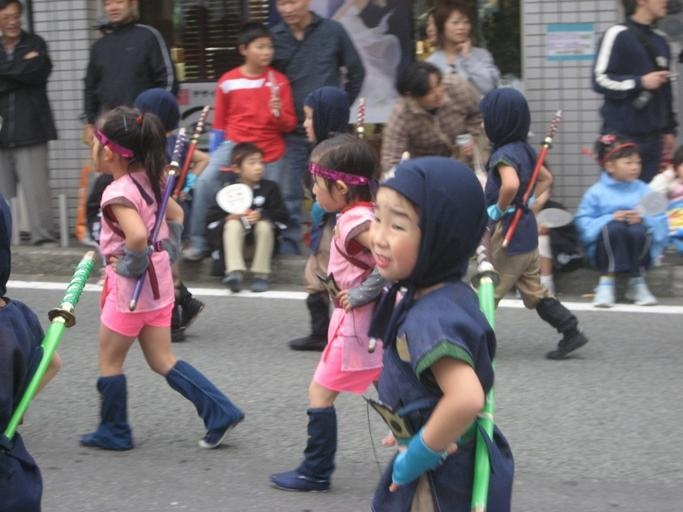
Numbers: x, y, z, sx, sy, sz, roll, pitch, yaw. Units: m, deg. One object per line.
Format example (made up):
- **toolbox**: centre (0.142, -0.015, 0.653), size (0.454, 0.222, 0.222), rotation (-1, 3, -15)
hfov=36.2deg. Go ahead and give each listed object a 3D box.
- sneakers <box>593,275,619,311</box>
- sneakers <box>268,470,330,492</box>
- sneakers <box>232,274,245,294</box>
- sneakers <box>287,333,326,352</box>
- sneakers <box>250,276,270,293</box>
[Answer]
- **sneakers**: centre (2.111, 0.284, 8.318), size (0.134, 0.131, 0.330), rotation (-2, 23, 21)
- **sneakers**: centre (-0.233, 1.215, 5.673), size (0.351, 0.112, 0.114), rotation (4, -1, 6)
- **sneakers**: centre (-0.892, 0.218, 8.890), size (0.081, 0.080, 0.191), rotation (4, -31, -4)
- **sneakers**: centre (-0.243, 0.629, 7.559), size (0.299, 0.096, 0.104), rotation (2, 5, 2)
- **sneakers**: centre (-0.716, 0.241, 9.002), size (0.155, 0.100, 0.289), rotation (-1, -5, -1)
